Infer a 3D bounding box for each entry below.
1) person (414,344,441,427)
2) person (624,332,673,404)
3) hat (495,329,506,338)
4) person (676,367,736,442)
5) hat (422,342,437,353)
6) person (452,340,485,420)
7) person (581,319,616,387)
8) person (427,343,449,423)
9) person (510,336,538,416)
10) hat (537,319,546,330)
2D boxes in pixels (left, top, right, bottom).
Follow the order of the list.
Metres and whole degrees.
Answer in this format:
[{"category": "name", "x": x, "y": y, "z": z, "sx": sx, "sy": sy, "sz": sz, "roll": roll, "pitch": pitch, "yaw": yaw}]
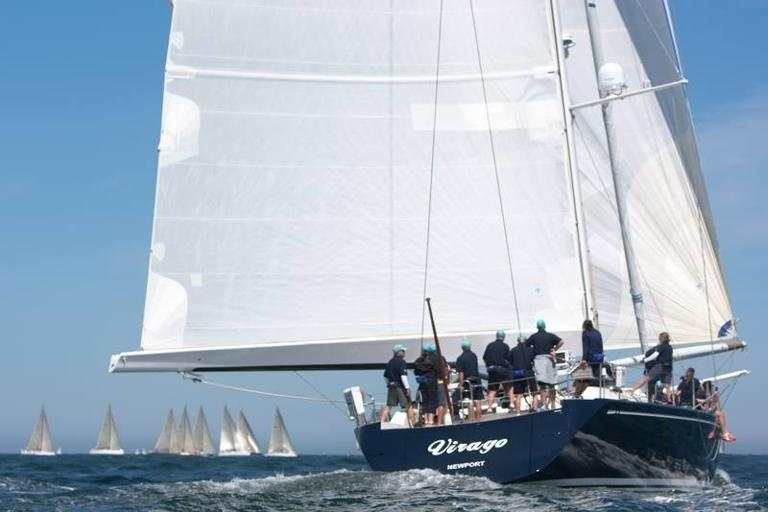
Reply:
[{"category": "person", "x": 1.087, "y": 2.920, "z": 28.237, "sx": 0.774, "sy": 2.041, "sz": 0.663, "roll": -18, "pitch": 25, "yaw": -39}, {"category": "person", "x": 6.290, "y": 2.594, "z": 28.801, "sx": 0.844, "sy": 1.621, "sz": 0.940, "roll": -2, "pitch": -8, "yaw": 16}, {"category": "hat", "x": 2.651, "y": 1.782, "z": 28.078, "sx": 0.133, "sy": 0.179, "sz": 0.176, "roll": 5, "pitch": 8, "yaw": 32}, {"category": "person", "x": 7.474, "y": 3.509, "z": 29.054, "sx": 0.627, "sy": 1.579, "sz": 2.259, "roll": -6, "pitch": -10, "yaw": 37}, {"category": "hat", "x": 1.060, "y": 2.132, "z": 28.393, "sx": 0.232, "sy": 0.164, "sz": 0.326, "roll": 1, "pitch": -6, "yaw": -1}, {"category": "person", "x": 1.943, "y": 2.819, "z": 27.882, "sx": 0.581, "sy": 1.755, "sz": 0.765, "roll": 0, "pitch": -8, "yaw": -2}, {"category": "person", "x": 4.781, "y": 2.175, "z": 27.866, "sx": 0.684, "sy": 1.551, "sz": 0.973, "roll": -3, "pitch": -8, "yaw": 21}, {"category": "person", "x": 1.274, "y": 2.904, "z": 27.783, "sx": 0.408, "sy": 1.822, "sz": 1.113, "roll": 0, "pitch": -8, "yaw": 1}, {"category": "person", "x": 3.115, "y": 2.659, "z": 27.553, "sx": 0.577, "sy": 1.714, "sz": 0.486, "roll": -1, "pitch": -8, "yaw": 8}, {"category": "hat", "x": 3.610, "y": 1.582, "z": 28.207, "sx": 0.194, "sy": 0.226, "sz": 0.155, "roll": -6, "pitch": 9, "yaw": -19}]
